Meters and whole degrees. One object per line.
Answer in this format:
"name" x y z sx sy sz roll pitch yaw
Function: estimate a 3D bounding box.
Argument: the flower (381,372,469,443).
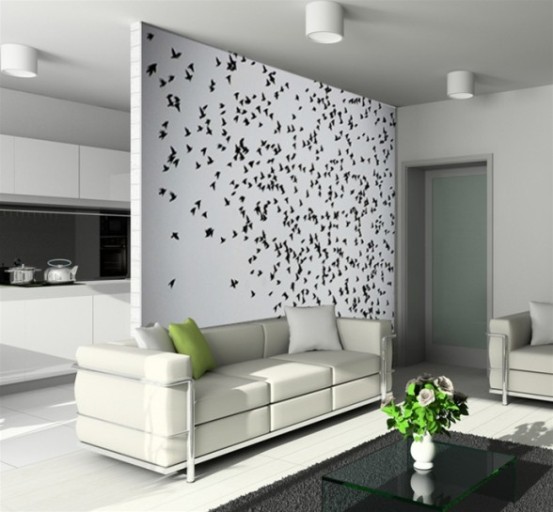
"flower" 0.704 0.716 2.173 0.413 0.303 0.248 3 -5 -38

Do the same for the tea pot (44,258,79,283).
"tea pot" -2.537 0.185 5.373 0.366 0.226 0.344 0 0 0

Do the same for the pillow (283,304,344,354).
"pillow" 0.326 0.659 4.201 0.482 0.407 0.137 0 -9 -19

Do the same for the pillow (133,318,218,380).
"pillow" -0.670 0.580 3.070 0.129 0.418 0.432 -38 -16 22

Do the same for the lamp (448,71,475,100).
"lamp" 1.929 -1.763 4.884 0.276 0.187 0.270 0 -2 17

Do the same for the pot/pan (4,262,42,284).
"pot/pan" -2.791 0.196 5.102 0.268 0.120 0.274 0 2 -10
